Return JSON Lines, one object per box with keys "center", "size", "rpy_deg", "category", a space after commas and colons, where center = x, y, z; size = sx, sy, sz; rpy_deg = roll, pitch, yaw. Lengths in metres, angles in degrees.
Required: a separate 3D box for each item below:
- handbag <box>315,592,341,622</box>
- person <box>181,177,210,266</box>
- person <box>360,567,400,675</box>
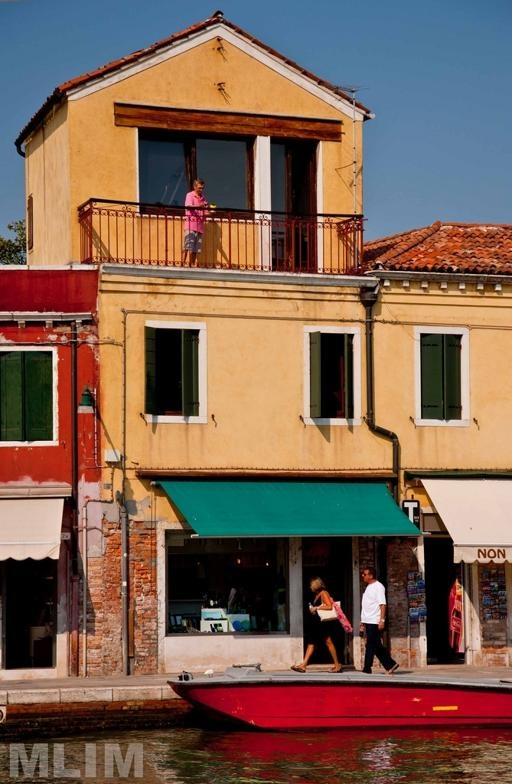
{"center": [1.091, 3.254, 30.233], "size": [0.400, 0.637, 0.193], "rpy_deg": [-1, -14, -30], "category": "handbag"}
{"center": [-1.005, -2.776, 33.117], "size": [0.418, 1.542, 0.930], "rpy_deg": [-1, -5, -1], "category": "person"}
{"center": [1.841, 3.398, 29.896], "size": [0.481, 1.564, 1.117], "rpy_deg": [-1, -5, 3], "category": "person"}
